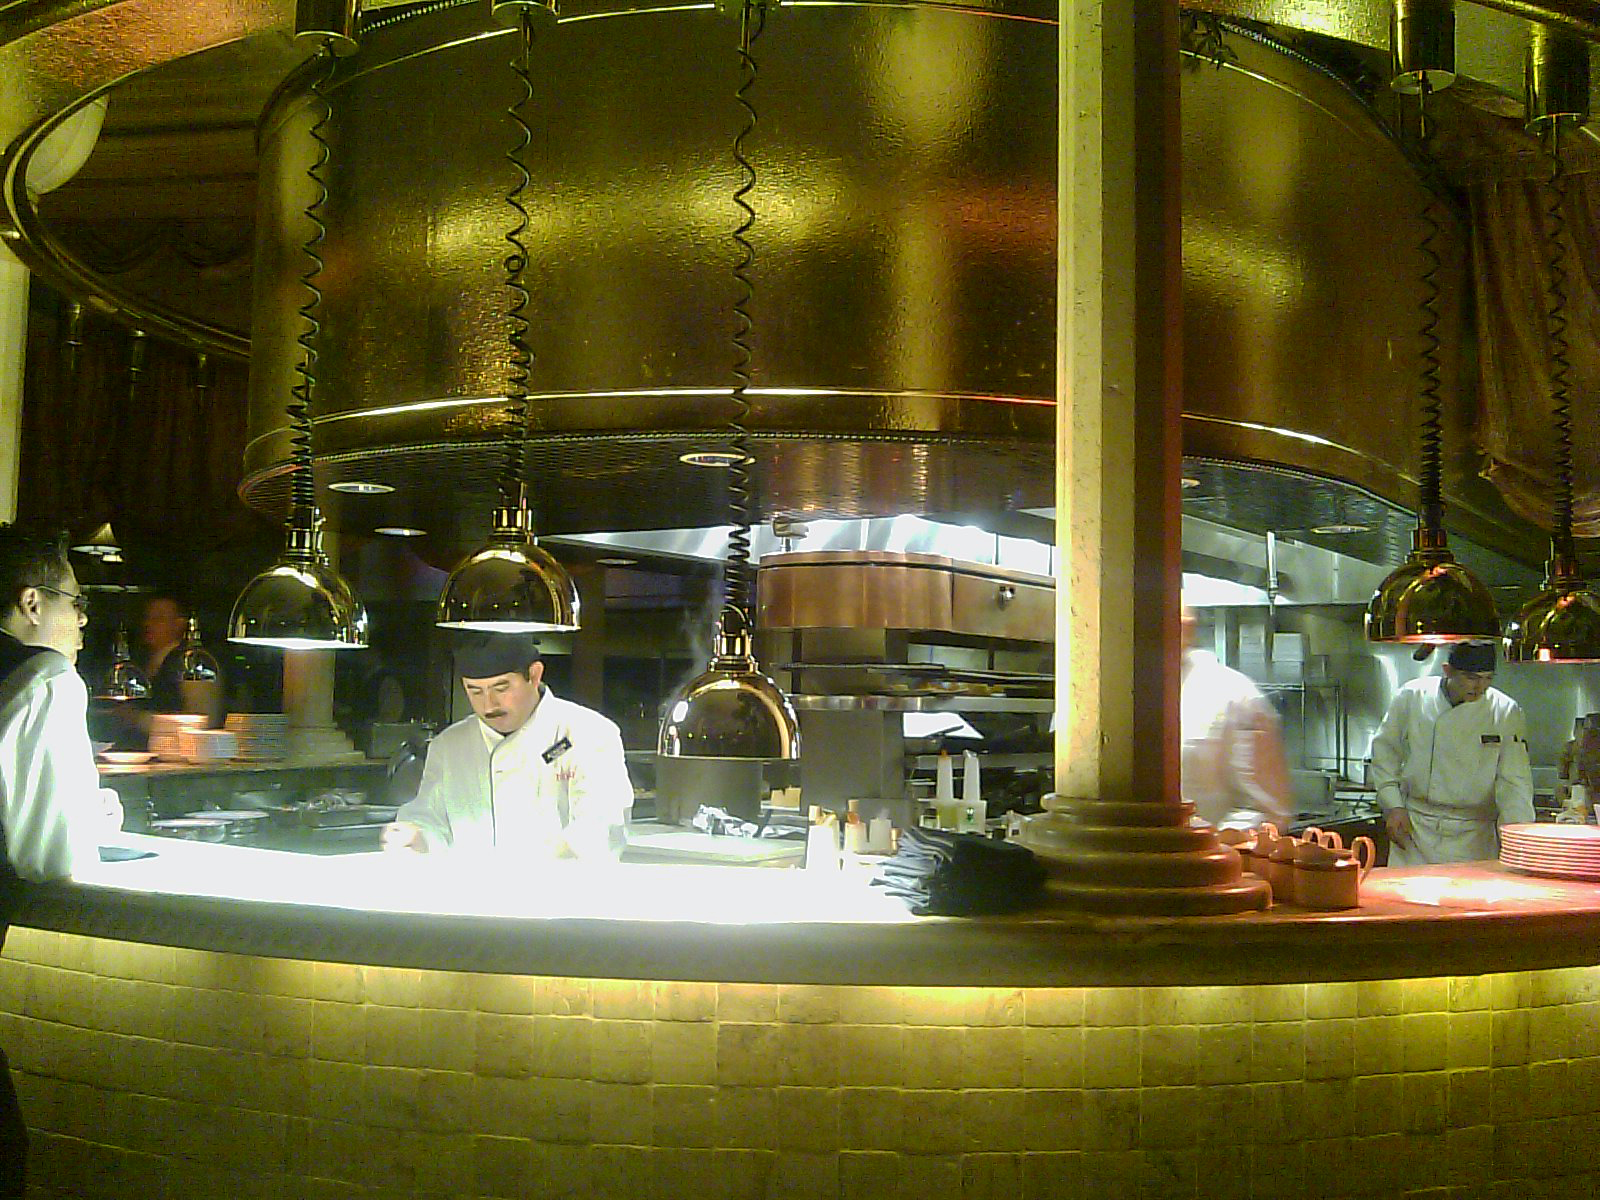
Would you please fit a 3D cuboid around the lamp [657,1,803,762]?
[{"bbox_3d":[-0.216,-0.576,4.503,0.393,2.044,0.931,-3,5,2],"label":"lamp"}]

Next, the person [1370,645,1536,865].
[{"bbox_3d":[2.816,0.678,7.370,0.639,1.005,0.467,-1,6,15],"label":"person"}]

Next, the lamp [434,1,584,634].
[{"bbox_3d":[-0.821,-0.737,4.567,0.416,1.715,0.747,-4,6,-7],"label":"lamp"}]

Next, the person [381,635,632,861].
[{"bbox_3d":[-0.925,0.504,5.448,0.781,0.793,1.189,-4,5,-12],"label":"person"}]

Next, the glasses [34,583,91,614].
[{"bbox_3d":[-2.253,-0.002,5.122,0.138,0.032,0.120,-4,-8,12],"label":"glasses"}]

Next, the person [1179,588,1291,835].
[{"bbox_3d":[1.656,0.516,6.487,0.429,0.621,0.335,0,6,25],"label":"person"}]

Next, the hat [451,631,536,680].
[{"bbox_3d":[-1.002,0.177,5.573,0.331,0.157,0.156,-5,6,-32],"label":"hat"}]

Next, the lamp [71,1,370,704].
[{"bbox_3d":[-2.064,-0.913,6.005,0.719,1.957,3.473,-5,6,-22],"label":"lamp"}]

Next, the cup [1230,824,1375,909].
[{"bbox_3d":[1.293,0.692,4.386,0.232,0.113,0.310,2,-10,-11],"label":"cup"}]
